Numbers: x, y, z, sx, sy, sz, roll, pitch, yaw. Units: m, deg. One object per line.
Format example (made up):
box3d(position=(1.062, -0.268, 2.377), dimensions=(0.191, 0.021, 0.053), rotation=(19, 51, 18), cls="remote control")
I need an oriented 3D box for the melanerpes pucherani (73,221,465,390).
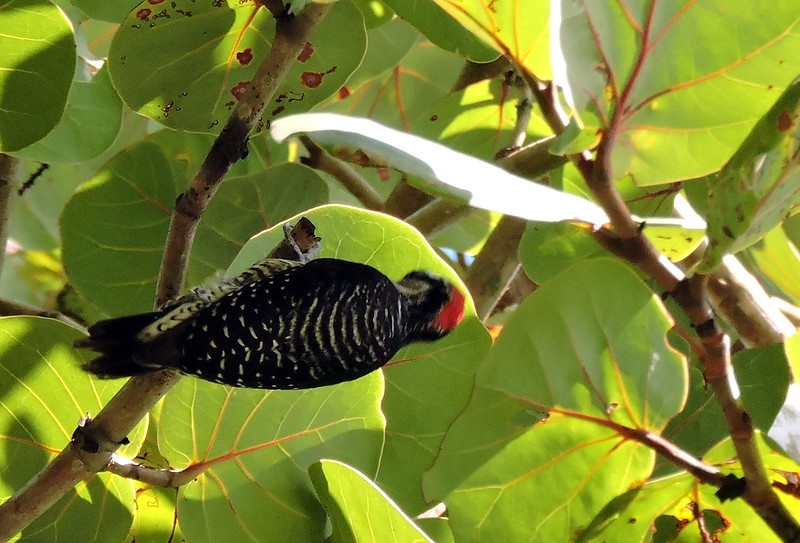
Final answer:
box3d(position=(-0.146, 0.053, 1.452), dimensions=(0.559, 0.180, 0.292), rotation=(4, -90, -12), cls="melanerpes pucherani")
